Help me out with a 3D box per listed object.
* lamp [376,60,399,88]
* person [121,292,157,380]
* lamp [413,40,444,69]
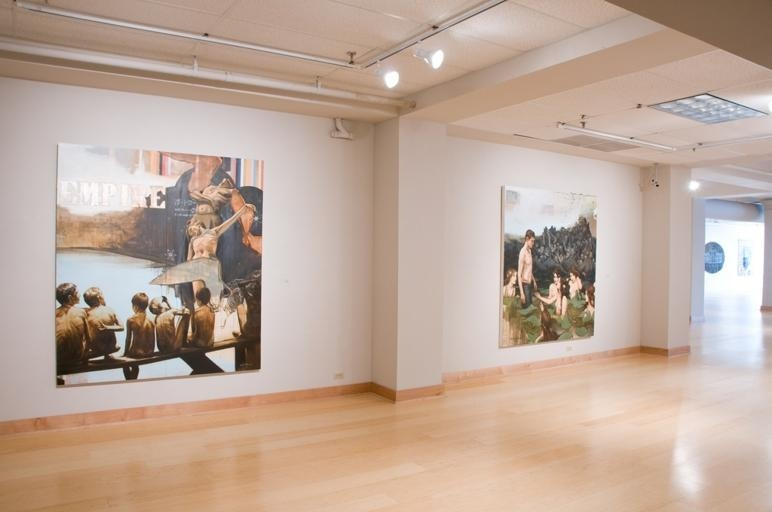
[{"bbox_3d":[0.000,-2.392,7.163,0.129,0.356,0.281,-11,-1,44],"label":"lamp"},{"bbox_3d":[-3.549,1.013,7.924,0.391,0.941,0.126,-1,7,-20],"label":"person"},{"bbox_3d":[0.531,-2.481,6.926,0.404,0.352,0.899,2,6,6],"label":"lamp"}]
